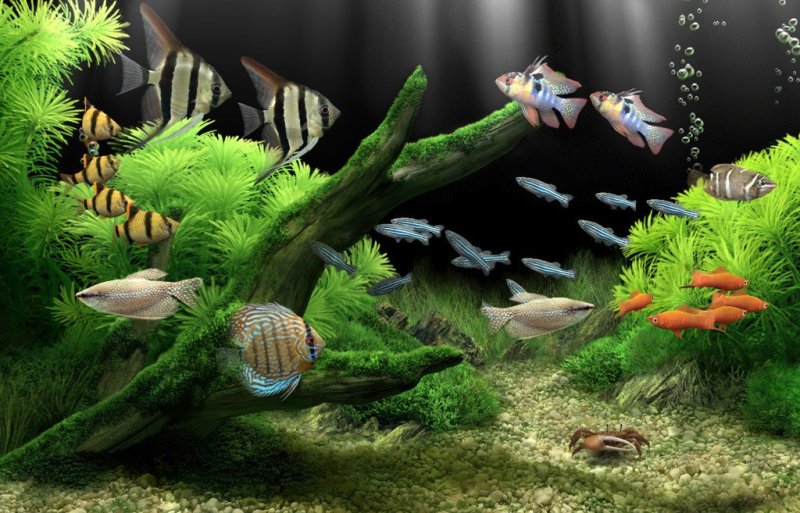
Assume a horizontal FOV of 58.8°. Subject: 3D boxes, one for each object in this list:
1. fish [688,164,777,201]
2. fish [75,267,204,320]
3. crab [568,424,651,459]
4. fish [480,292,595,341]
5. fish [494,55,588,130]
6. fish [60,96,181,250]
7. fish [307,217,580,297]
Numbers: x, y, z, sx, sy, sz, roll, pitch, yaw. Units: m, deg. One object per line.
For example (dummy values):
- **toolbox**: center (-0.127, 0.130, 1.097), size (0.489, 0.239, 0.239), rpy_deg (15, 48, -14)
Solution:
- **fish**: center (3.217, -0.698, 6.765), size (0.594, 0.339, 0.179), rpy_deg (7, 16, 15)
- **fish**: center (-2.257, 0.334, 6.173), size (1.334, 0.634, 0.666), rpy_deg (0, 1, 41)
- **crab**: center (2.103, 1.886, 7.291), size (0.627, 0.268, 0.388), rpy_deg (-8, -15, 8)
- **fish**: center (1.196, 0.545, 6.346), size (0.950, 0.417, 0.322), rpy_deg (4, 15, 5)
- **fish**: center (1.253, -1.480, 6.394), size (0.783, 0.592, 0.300), rpy_deg (4, 15, 5)
- **fish**: center (-2.811, -0.741, 7.015), size (1.382, 1.469, 2.317), rpy_deg (-5, 15, -36)
- **fish**: center (0.642, -0.005, 9.152), size (3.057, 0.879, 0.722), rpy_deg (6, 18, 14)
